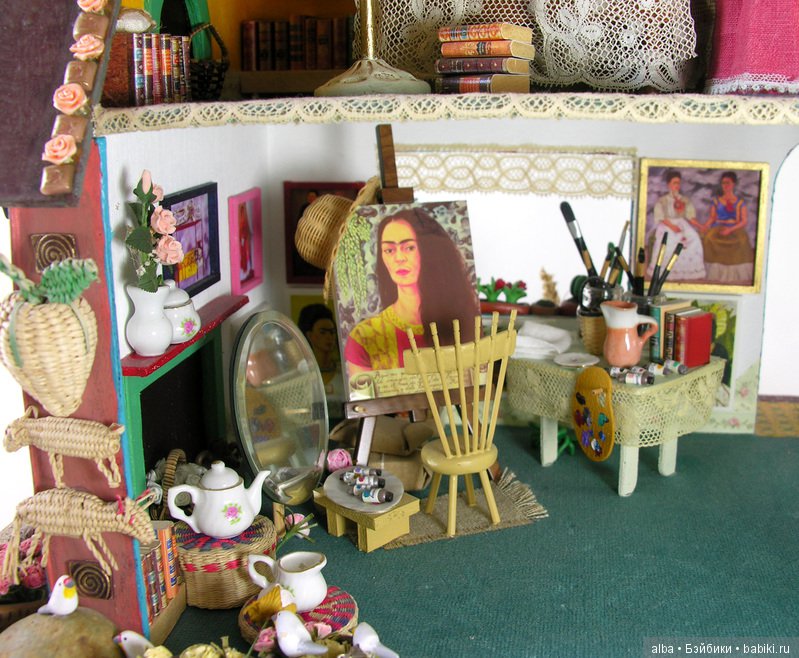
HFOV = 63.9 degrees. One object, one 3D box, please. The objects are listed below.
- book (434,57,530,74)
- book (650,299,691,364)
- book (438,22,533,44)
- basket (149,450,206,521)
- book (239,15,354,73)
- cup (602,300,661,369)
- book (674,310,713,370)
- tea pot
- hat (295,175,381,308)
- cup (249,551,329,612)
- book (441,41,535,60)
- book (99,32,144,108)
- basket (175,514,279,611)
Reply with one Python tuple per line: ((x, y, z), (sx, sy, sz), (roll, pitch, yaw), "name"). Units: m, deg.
((0.367, -1.218, 2.970), (0.193, 0.045, 0.198), (14, 22, 35), "book")
((1.485, 0.033, 3.462), (0.109, 0.290, 0.294), (0, 3, 22), "book")
((0.380, -1.372, 2.981), (0.217, 0.052, 0.222), (4, 11, 30), "book")
((-0.996, 0.682, 2.841), (0.113, 0.298, 0.225), (4, -3, 5), "basket")
((-0.726, -1.982, 4.450), (0.833, 0.376, 0.113), (3, 15, 13), "book")
((1.228, 0.034, 3.417), (0.320, 0.381, 0.191), (-3, 12, -2), "cup")
((1.570, 0.054, 3.448), (0.329, 0.297, 0.127), (-13, 19, -39), "book")
((-0.754, 0.724, 2.679), (0.403, 0.298, 0.252), (-4, 6, -31), "tea pot")
((-0.355, -0.499, 3.635), (0.193, 0.626, 0.625), (9, 38, 10), "hat")
((-0.423, 0.919, 2.412), (0.263, 0.184, 0.170), (6, 19, 8), "cup")
((0.381, -1.288, 2.957), (0.192, 0.046, 0.198), (6, 15, 28), "book")
((-1.072, -0.992, 2.453), (0.160, 0.277, 0.100), (-7, 16, -22), "book")
((-0.717, 1.047, 2.684), (0.358, 0.200, 0.340), (-10, -19, 18), "basket")
